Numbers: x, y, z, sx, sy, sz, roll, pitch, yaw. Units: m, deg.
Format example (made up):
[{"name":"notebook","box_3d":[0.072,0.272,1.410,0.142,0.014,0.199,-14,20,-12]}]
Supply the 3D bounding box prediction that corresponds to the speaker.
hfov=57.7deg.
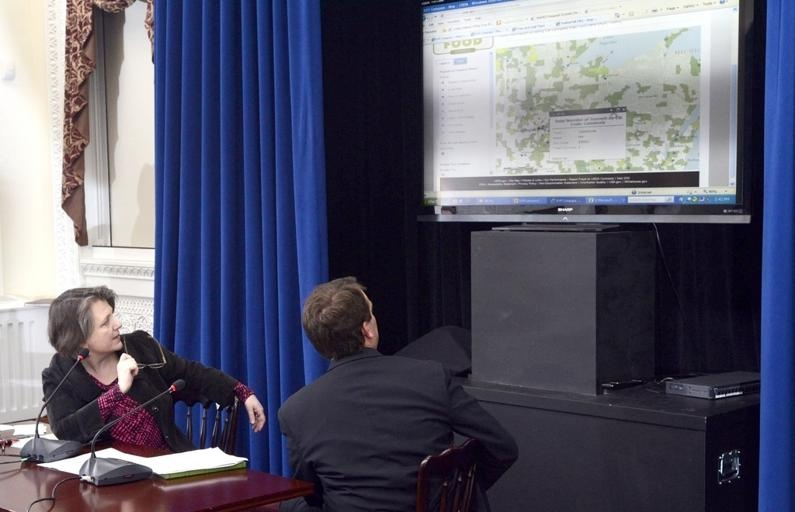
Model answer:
[{"name":"speaker","box_3d":[0.767,0.249,3.715,0.951,0.947,0.731,-1,0,41]}]

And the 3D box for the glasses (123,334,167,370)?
[{"name":"glasses","box_3d":[-1.254,0.460,3.626,0.154,0.202,0.071,-24,-16,-21]}]

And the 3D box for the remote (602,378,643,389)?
[{"name":"remote","box_3d":[1.042,0.593,3.344,0.244,0.037,0.071,-4,5,-34]}]
